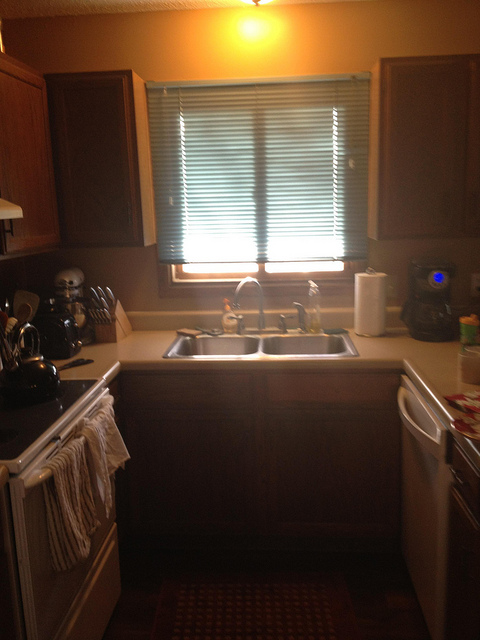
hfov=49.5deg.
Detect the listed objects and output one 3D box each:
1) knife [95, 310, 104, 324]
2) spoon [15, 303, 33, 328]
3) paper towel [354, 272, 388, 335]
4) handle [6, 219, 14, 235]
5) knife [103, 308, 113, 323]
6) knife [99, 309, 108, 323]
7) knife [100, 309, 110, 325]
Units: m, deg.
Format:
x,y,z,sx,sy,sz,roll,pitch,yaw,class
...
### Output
x,y,z,sx,sy,sz,roll,pitch,yaw,class
-0.644,-0.023,2.379,0.013,0.083,0.019,-19,-6,-35,knife
-0.753,-0.017,1.801,0.054,0.086,0.114,-5,9,-26,spoon
0.589,-0.075,2.360,0.143,0.277,0.138,1,7,16,paper towel
-0.787,-0.324,1.779,0.013,0.059,0.037,2,28,-14,handle
-0.607,-0.019,2.386,0.027,0.055,0.051,-6,9,-36,knife
-0.626,-0.020,2.383,0.017,0.055,0.011,-23,0,10,knife
-0.622,-0.019,2.382,0.037,0.093,0.023,17,31,42,knife
